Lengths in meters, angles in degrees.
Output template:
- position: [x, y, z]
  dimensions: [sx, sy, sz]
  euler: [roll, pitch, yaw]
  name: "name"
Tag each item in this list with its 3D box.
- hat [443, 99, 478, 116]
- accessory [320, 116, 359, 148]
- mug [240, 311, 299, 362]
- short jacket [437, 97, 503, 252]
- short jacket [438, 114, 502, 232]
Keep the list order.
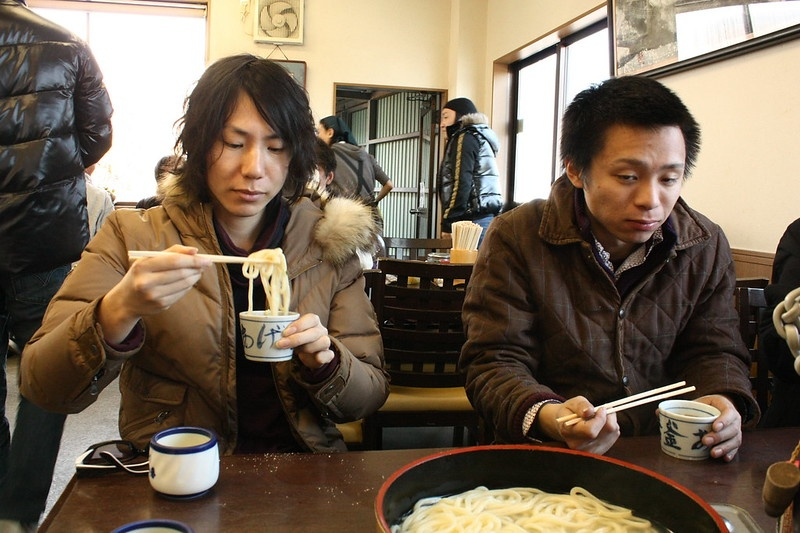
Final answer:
- position: [0.588, -1.517, 5.659]
  dimensions: [0.269, 0.200, 0.192]
  euler: [-5, 30, -21]
  name: "hat"
- position: [-0.685, -1.369, 6.089]
  dimensions: [0.388, 0.346, 0.287]
  euler: [11, 19, 34]
  name: "accessory"
- position: [-0.376, 0.205, 1.729]
  dimensions: [0.180, 0.128, 0.174]
  euler: [3, -5, -25]
  name: "mug"
- position: [0.618, -0.878, 5.540]
  dimensions: [0.483, 1.441, 0.554]
  euler: [1, 12, -17]
  name: "short jacket"
- position: [0.687, -0.892, 5.683]
  dimensions: [0.575, 1.074, 0.904]
  euler: [-4, 6, 13]
  name: "short jacket"
